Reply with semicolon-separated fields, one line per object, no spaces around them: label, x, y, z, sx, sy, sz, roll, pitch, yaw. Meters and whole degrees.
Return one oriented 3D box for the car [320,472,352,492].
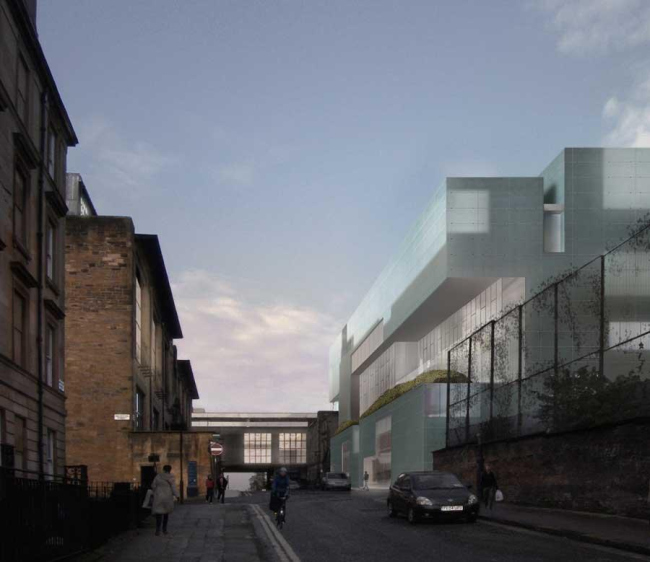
car;0.778;15.792;69.241;1.900;1.505;2.997;2;-5;-7

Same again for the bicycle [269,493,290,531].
bicycle;-1.264;6.321;24.612;0.569;0.842;1.288;2;-12;-9

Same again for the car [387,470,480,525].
car;3.062;6.358;25.682;1.812;1.477;3.075;3;-5;-16

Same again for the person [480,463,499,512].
person;5.625;7.235;30.625;0.533;1.434;2.648;1;-5;10
